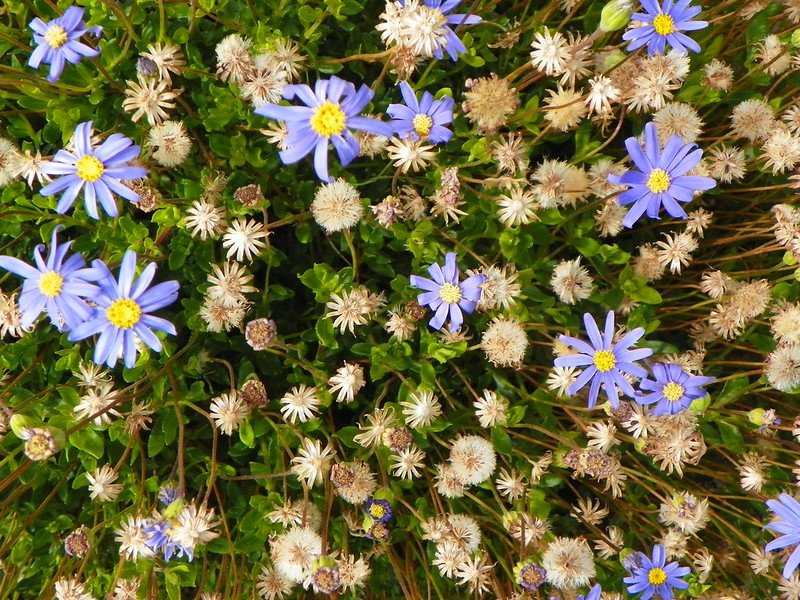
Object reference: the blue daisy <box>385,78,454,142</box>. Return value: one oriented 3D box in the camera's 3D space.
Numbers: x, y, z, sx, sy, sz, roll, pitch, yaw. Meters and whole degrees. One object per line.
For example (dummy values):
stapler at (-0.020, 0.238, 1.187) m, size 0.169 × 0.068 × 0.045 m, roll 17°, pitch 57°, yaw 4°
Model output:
blue daisy at (0.064, -0.598, 2.831) m, size 0.208 × 0.136 × 0.161 m, roll 6°, pitch 85°, yaw -1°

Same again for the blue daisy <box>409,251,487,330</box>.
blue daisy at (0.161, -0.054, 2.814) m, size 0.266 × 0.270 × 0.090 m, roll 12°, pitch 72°, yaw -47°

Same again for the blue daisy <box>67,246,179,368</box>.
blue daisy at (-0.824, 0.046, 2.700) m, size 0.294 × 0.134 × 0.351 m, roll 23°, pitch 85°, yaw 0°

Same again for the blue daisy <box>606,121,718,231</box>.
blue daisy at (0.838, -0.413, 2.816) m, size 0.317 × 0.294 × 0.121 m, roll 15°, pitch 83°, yaw -41°

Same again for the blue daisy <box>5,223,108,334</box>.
blue daisy at (-1.058, -0.041, 2.689) m, size 0.276 × 0.093 × 0.330 m, roll -13°, pitch 82°, yaw -1°

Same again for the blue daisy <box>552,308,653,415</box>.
blue daisy at (0.659, 0.191, 2.840) m, size 0.348 × 0.305 × 0.035 m, roll -41°, pitch 130°, yaw -49°
